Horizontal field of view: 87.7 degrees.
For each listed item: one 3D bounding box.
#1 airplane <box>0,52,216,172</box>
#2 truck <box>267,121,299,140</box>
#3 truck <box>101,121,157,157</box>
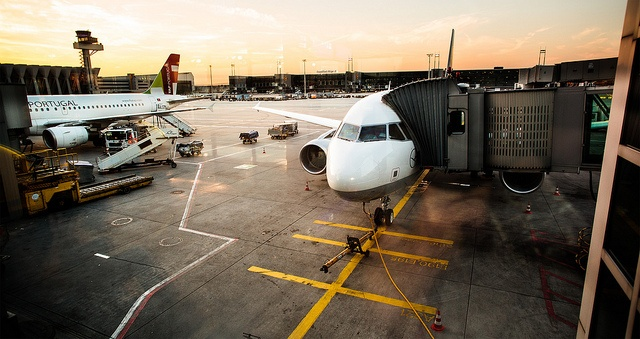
[{"bbox_3d":[-29.871,-9.001,43.809,24.887,8.678,25.232,-20,36,-39],"label":"airplane"},{"bbox_3d":[-5.516,-5.892,50.952,2.556,1.495,4.306,9,16,28],"label":"truck"},{"bbox_3d":[-21.065,-3.248,37.478,3.423,2.335,4.840,2,11,9],"label":"truck"}]
